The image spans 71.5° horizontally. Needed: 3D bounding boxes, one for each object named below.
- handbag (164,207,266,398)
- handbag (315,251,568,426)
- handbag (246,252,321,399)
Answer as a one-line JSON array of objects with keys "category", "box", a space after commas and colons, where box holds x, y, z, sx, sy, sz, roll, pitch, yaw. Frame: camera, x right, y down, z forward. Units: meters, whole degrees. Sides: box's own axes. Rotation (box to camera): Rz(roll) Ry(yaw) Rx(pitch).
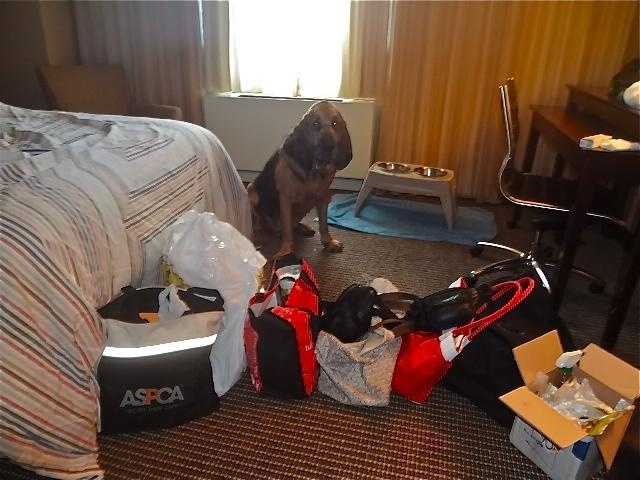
[{"category": "handbag", "box": [-0.478, 0.246, 1.708, 0.179, 0.610, 0.487, -15, -13, 35]}, {"category": "handbag", "box": [0.427, 0.370, 1.680, 0.736, 0.322, 0.577, -1, 35, 9]}, {"category": "handbag", "box": [-0.138, 0.336, 1.661, 0.238, 0.337, 0.452, -1, 25, 5]}]
